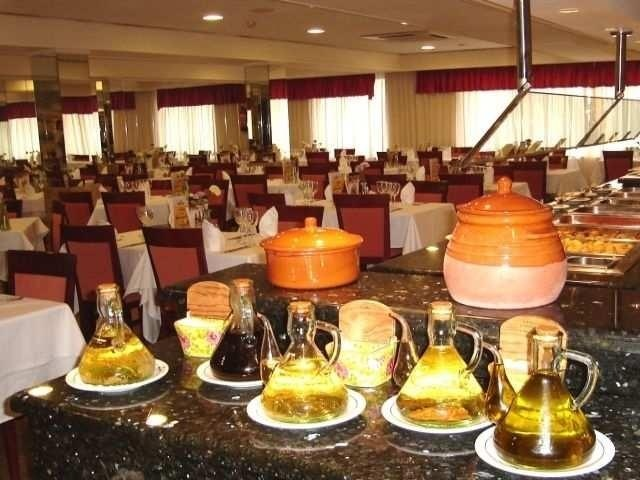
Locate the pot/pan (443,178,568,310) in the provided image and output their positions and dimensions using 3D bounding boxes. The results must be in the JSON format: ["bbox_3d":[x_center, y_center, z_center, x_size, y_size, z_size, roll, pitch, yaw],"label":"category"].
[{"bbox_3d":[0.387,-0.015,1.090,0.275,0.276,0.270,-1,10,-5],"label":"pot/pan"}]

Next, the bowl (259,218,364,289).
[{"bbox_3d":[-0.021,0.025,1.295,0.270,0.184,0.260,-2,9,0],"label":"bowl"}]

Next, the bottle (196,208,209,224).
[{"bbox_3d":[-0.863,-0.178,3.397,0.064,0.097,0.104,10,39,-19],"label":"bottle"}]

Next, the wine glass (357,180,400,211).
[{"bbox_3d":[0.584,-0.436,4.543,0.318,0.402,0.306,7,30,20],"label":"wine glass"}]
